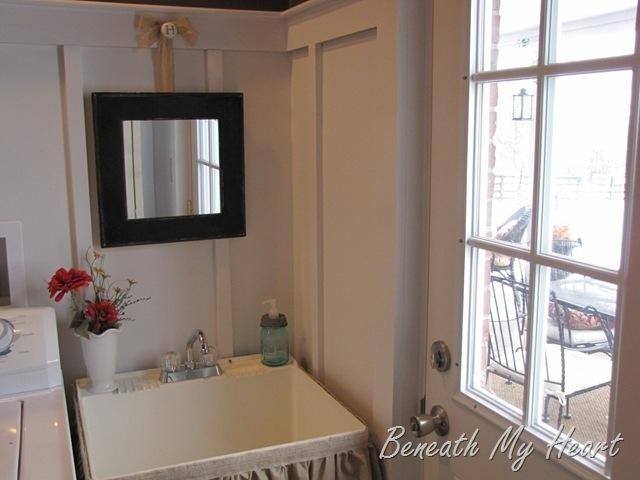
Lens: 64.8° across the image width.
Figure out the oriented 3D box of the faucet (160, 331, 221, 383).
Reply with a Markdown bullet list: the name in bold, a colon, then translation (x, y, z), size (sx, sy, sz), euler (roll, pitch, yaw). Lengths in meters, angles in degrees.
- **faucet**: translation (-0.504, 0.487, 2.137), size (0.321, 0.251, 0.125), euler (1, 0, -36)

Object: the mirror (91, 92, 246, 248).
- **mirror**: translation (-0.621, -0.291, 1.996), size (0.558, 0.609, 0.048), euler (-4, 10, -17)

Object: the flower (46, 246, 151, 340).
- **flower**: translation (-0.877, 0.205, 1.954), size (0.335, 0.376, 0.272), euler (19, 4, -38)
